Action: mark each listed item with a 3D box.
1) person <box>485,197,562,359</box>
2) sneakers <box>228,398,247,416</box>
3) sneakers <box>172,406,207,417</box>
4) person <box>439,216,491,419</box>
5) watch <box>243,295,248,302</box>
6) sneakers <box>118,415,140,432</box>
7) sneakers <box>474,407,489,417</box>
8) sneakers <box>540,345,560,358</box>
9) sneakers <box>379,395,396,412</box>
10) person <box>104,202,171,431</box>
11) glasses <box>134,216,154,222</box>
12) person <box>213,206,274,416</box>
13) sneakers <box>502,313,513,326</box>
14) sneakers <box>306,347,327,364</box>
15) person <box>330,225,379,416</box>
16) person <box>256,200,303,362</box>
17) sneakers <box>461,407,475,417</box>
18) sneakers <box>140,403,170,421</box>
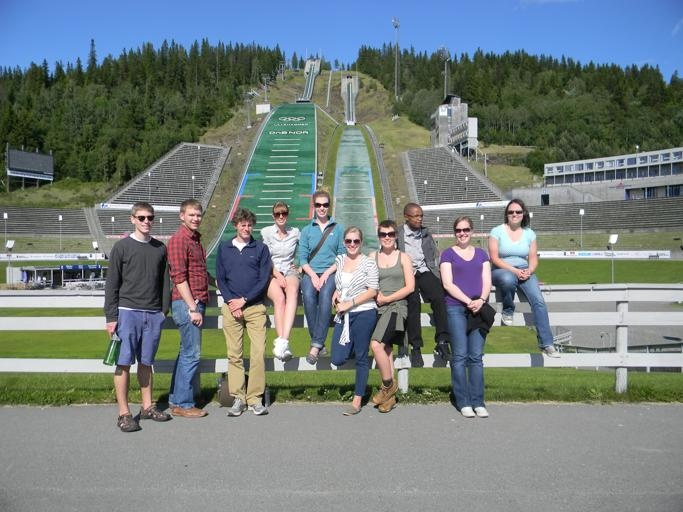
[{"bbox_3d":[2.644,0.266,10.430,0.855,2.250,1.125,0,2,-5],"label":"person"},{"bbox_3d":[-1.417,2.028,9.636,0.219,0.211,0.304,0,2,-4],"label":"sneakers"},{"bbox_3d":[-2.066,2.069,9.635,0.469,0.212,0.175,-4,-3,20],"label":"sneakers"},{"bbox_3d":[1.773,0.775,9.906,0.780,2.651,1.045,0,2,8],"label":"person"},{"bbox_3d":[-1.333,0.583,9.893,0.090,0.091,0.022,6,-5,4],"label":"watch"},{"bbox_3d":[-2.746,2.125,9.073,0.154,0.130,0.308,0,-2,-32],"label":"sneakers"},{"bbox_3d":[1.880,2.066,9.471,0.195,0.121,0.185,0,3,12],"label":"sneakers"},{"bbox_3d":[2.959,1.343,10.096,0.125,0.149,0.311,-2,2,-35],"label":"sneakers"},{"bbox_3d":[0.644,2.026,9.757,0.267,0.170,0.238,-1,2,-7],"label":"sneakers"},{"bbox_3d":[-2.713,0.720,9.548,0.862,2.923,0.931,-1,2,-28],"label":"person"},{"bbox_3d":[-2.646,-0.519,9.590,0.260,0.082,0.148,-2,3,-36],"label":"glasses"},{"bbox_3d":[-1.333,0.716,9.969,0.782,2.797,0.987,-1,2,-35],"label":"person"},{"bbox_3d":[2.417,0.900,10.263,0.168,0.182,0.119,0,2,4],"label":"sneakers"},{"bbox_3d":[-0.360,1.401,10.077,0.130,0.177,0.406,9,15,7],"label":"sneakers"},{"bbox_3d":[0.174,0.856,9.852,0.639,2.506,0.553,0,2,18],"label":"person"},{"bbox_3d":[-0.742,0.348,10.256,0.610,2.273,0.940,2,-37,-10],"label":"person"},{"bbox_3d":[1.711,2.072,9.467,0.175,0.114,0.172,-1,3,-11],"label":"sneakers"},{"bbox_3d":[-2.503,2.102,9.511,0.482,0.163,0.176,1,2,21],"label":"sneakers"}]
